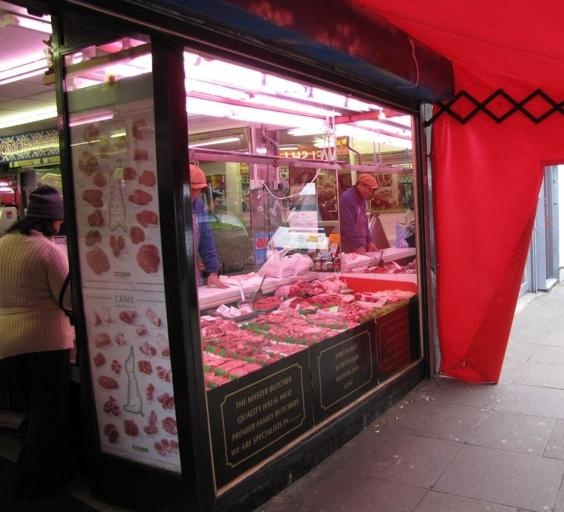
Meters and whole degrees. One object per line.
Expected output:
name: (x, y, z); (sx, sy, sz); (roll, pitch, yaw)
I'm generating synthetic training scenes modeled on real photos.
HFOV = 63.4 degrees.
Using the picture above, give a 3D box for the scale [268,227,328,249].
scale: (0.156, -0.142, 3.995); (0.570, 0.213, 0.098); (-6, 6, -34)

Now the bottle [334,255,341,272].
bottle: (0.510, 0.071, 4.159); (0.094, 0.152, 0.024); (-6, 6, -35)

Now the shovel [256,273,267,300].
shovel: (-0.159, 0.237, 3.388); (0.043, 0.182, 0.031); (28, -33, -35)

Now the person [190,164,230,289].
person: (-0.438, -0.143, 2.672); (0.161, 0.780, 0.703); (-3, 5, -5)

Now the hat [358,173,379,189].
hat: (0.811, -0.706, 4.350); (0.177, 0.099, 0.121); (11, 18, -21)

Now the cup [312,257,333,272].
cup: (0.364, 0.078, 4.078); (0.171, 0.174, 0.100); (-1, -1, -7)

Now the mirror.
mirror: (0.949, -0.397, 4.805); (1.070, 1.869, 1.039); (-1, -9, 24)

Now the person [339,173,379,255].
person: (0.720, -0.380, 4.295); (0.467, 0.723, 0.139); (-6, 6, -36)
